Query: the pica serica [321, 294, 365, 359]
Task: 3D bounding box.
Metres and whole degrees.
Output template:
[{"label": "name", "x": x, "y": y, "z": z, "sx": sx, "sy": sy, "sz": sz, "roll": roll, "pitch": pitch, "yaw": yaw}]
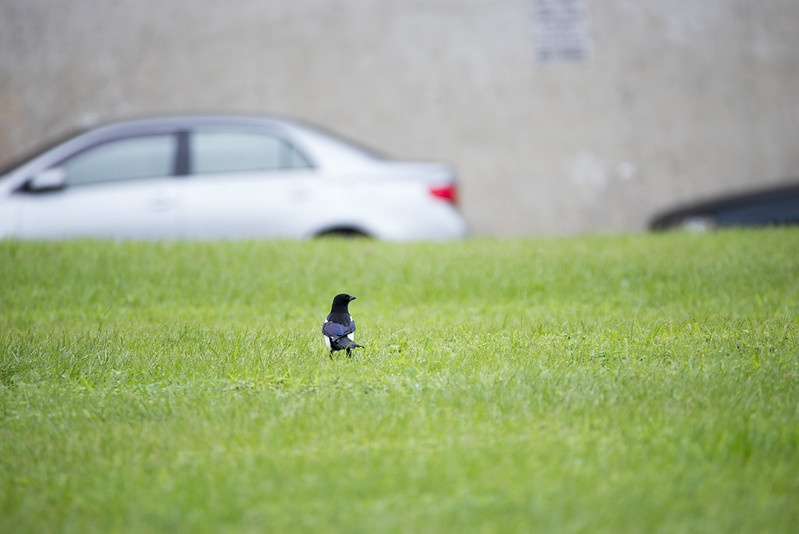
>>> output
[{"label": "pica serica", "x": -0.354, "y": 0.357, "z": 7.031, "sx": 0.181, "sy": 0.378, "sz": 0.504, "roll": -3, "pitch": 3, "yaw": 1}]
